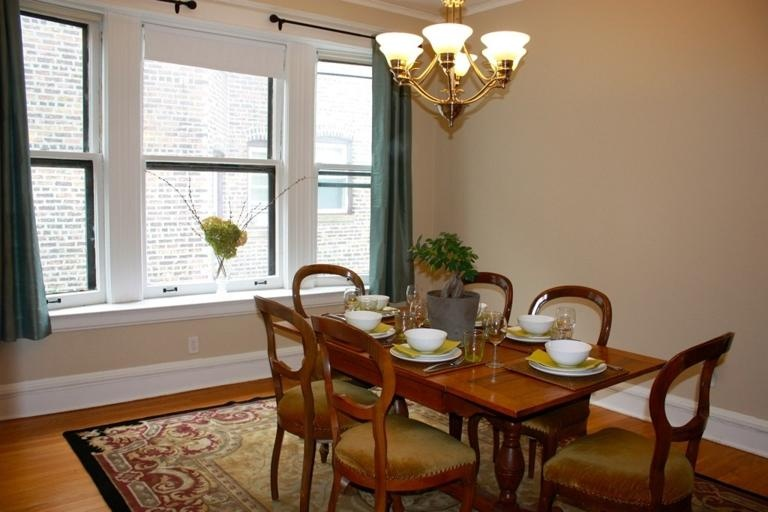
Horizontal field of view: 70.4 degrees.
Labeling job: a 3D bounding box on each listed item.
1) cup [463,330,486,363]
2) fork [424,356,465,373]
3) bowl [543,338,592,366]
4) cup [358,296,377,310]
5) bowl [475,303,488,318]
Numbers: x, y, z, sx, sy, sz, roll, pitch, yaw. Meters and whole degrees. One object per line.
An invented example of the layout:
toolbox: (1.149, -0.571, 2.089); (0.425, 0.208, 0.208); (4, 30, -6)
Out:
cup: (0.506, 0.518, 3.045); (0.130, 0.161, 0.168); (0, -3, -1)
fork: (0.321, 0.597, 2.973); (0.207, 0.029, 0.033); (-11, 20, -23)
bowl: (1.014, 0.525, 3.007); (0.166, 0.064, 0.165); (0, 2, 0)
cup: (-0.116, 0.321, 3.648); (0.090, 0.076, 0.101); (0, -3, -1)
bowl: (0.634, 0.358, 3.486); (0.107, 0.092, 0.119); (1, -5, 1)
